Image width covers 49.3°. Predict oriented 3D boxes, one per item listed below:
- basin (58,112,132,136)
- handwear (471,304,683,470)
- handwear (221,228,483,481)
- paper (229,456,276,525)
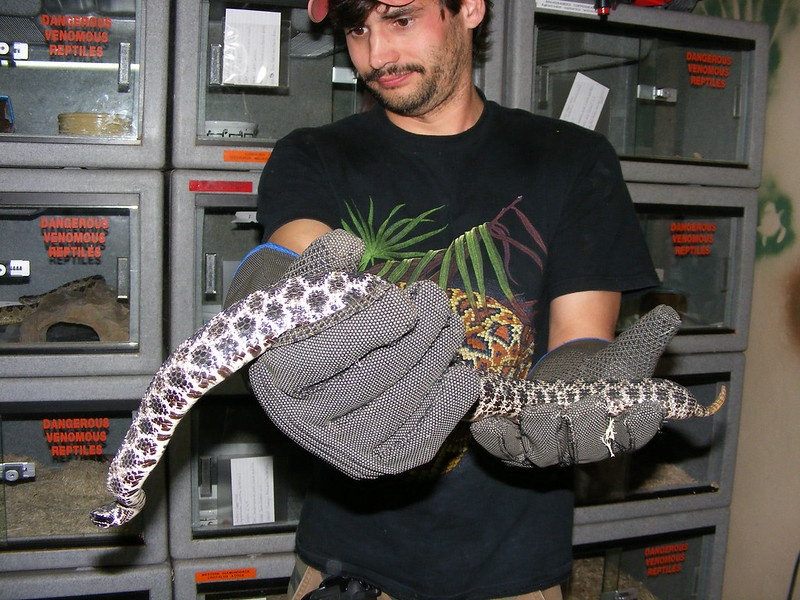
[{"bbox_3d":[-1.303,-0.749,3.714,0.323,0.095,0.108,0,8,10],"label":"basin"},{"bbox_3d":[0.592,0.330,2.754,0.715,0.420,0.205,-9,-38,31],"label":"handwear"},{"bbox_3d":[-0.151,0.178,2.632,0.607,0.788,0.241,-44,6,-3],"label":"handwear"},{"bbox_3d":[-0.675,0.877,3.947,0.266,0.393,0.038,-1,-15,-15],"label":"paper"}]
